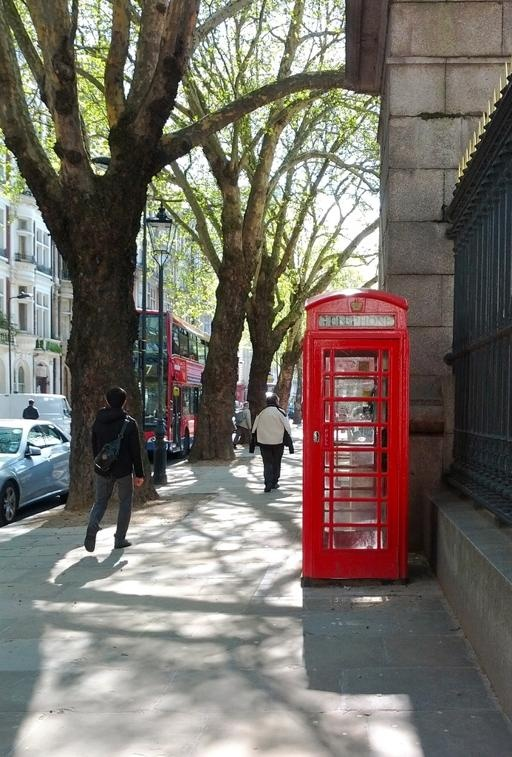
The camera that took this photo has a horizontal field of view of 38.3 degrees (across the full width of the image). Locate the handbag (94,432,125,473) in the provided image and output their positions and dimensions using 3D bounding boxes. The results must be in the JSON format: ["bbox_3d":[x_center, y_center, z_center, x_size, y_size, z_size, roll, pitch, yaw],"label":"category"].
[{"bbox_3d":[-1.494,0.806,7.650,0.197,0.406,0.365,22,-30,2],"label":"handbag"}]

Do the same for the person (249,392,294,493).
[{"bbox_3d":[0.269,1.106,13.281,0.766,2.009,0.619,3,22,10],"label":"person"}]

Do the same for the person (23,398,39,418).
[{"bbox_3d":[-7.855,1.103,25.832,0.443,0.562,0.807,0,-1,-19],"label":"person"}]

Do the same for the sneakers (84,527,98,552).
[{"bbox_3d":[-1.652,1.600,7.415,0.089,0.327,0.188,3,-7,-2],"label":"sneakers"}]
